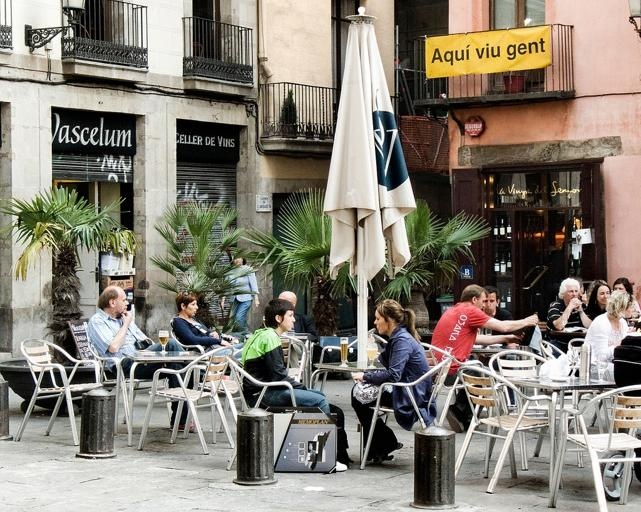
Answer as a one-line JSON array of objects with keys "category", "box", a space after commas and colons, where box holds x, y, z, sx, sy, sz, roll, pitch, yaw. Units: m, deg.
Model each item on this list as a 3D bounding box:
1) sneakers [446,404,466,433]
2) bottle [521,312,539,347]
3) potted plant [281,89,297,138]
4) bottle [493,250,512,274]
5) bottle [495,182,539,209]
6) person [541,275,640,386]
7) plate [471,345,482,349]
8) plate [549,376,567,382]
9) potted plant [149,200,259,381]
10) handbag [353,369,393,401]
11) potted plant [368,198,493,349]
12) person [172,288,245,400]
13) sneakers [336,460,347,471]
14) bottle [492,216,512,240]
[{"category": "sneakers", "box": [1.557, 1.933, 14.428, 0.138, 0.423, 0.164, -25, -11, 15]}, {"category": "bottle", "box": [2.564, 0.914, 15.260, 0.120, 0.099, 0.415, 31, 21, 15]}, {"category": "potted plant", "box": [-0.637, -2.923, 25.026, 0.358, 0.830, 0.123, 3, -1, -24]}, {"category": "bottle", "box": [3.298, 0.106, 22.533, 0.336, 0.307, 0.039, 2, -1, 26]}, {"category": "bottle", "box": [3.551, -1.126, 22.398, 0.725, 0.317, 0.057, 2, -1, 35]}, {"category": "person", "box": [3.054, 0.884, 14.216, 1.092, 2.044, 0.783, 5, -3, 14]}, {"category": "plate", "box": [1.879, 1.103, 14.952, 0.092, 0.025, 0.097, 1, 2, -17]}, {"category": "plate", "box": [2.334, 1.208, 12.159, 0.192, 0.038, 0.185, 3, -1, -2]}, {"category": "potted plant", "box": [-1.921, 0.259, 20.712, 2.059, 3.097, 2.170, -1, 0, -28]}, {"category": "handbag", "box": [0.531, 1.378, 12.998, 0.354, 0.161, 0.263, -1, -5, -30]}, {"category": "potted plant", "box": [1.737, 0.202, 20.819, 2.125, 2.573, 2.481, 1, 2, 10]}, {"category": "person", "box": [-1.594, 0.885, 15.490, 1.106, 1.556, 0.733, 0, 2, 13]}, {"category": "sneakers", "box": [0.195, 2.166, 12.685, 0.058, 0.066, 0.149, 0, 1, 42]}, {"category": "bottle", "box": [3.281, -0.550, 22.543, 0.371, 0.343, 0.039, 2, -1, 26]}]
